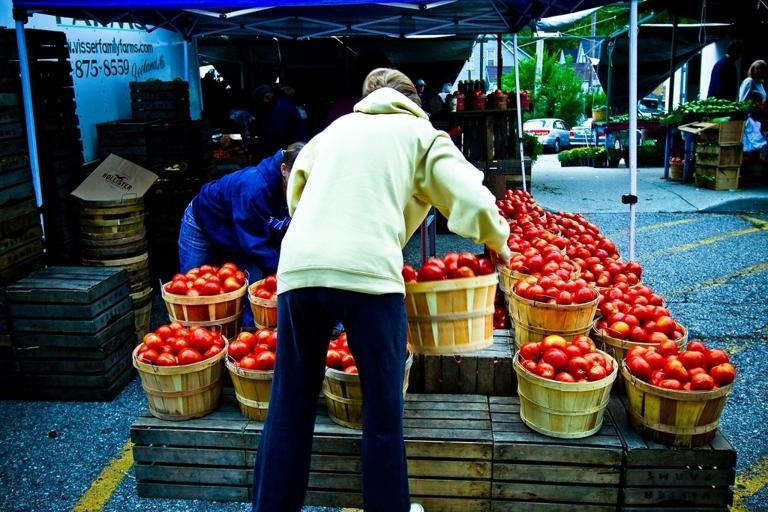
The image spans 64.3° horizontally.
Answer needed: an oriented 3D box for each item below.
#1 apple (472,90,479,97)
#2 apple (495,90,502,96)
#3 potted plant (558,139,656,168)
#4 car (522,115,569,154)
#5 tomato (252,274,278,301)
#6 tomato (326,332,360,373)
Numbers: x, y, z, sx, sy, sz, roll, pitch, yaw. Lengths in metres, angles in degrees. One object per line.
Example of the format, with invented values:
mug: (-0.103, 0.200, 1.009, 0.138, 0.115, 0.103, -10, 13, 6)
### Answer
apple: (1.709, -2.956, 11.258, 0.107, 0.101, 0.106, 14, 18, 27)
apple: (2.132, -2.995, 11.348, 0.125, 0.116, 0.123, 10, 18, 19)
potted plant: (7.425, -3.213, 20.027, 3.155, 0.746, 1.561, 8, 17, 29)
car: (7.629, -5.563, 28.733, 2.287, 1.407, 1.654, -14, 20, -41)
tomato: (-1.088, 0.309, 5.614, 0.228, 0.124, 0.258, 1, -17, 0)
tomato: (-0.341, 0.793, 5.019, 0.284, 0.142, 0.363, 0, 6, -1)
